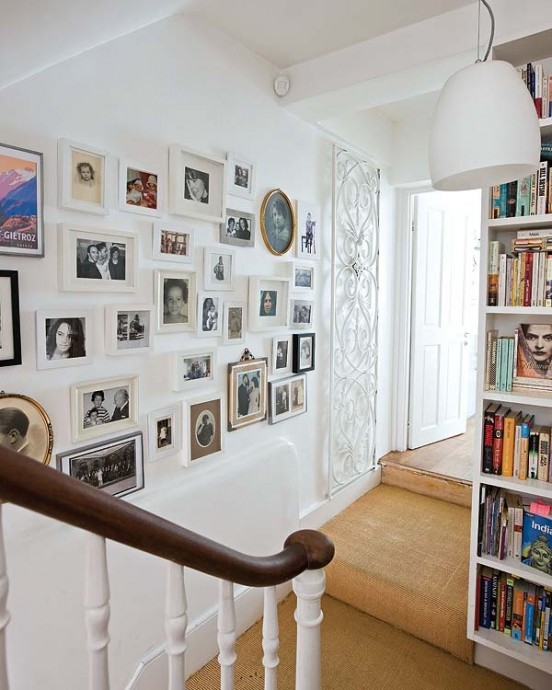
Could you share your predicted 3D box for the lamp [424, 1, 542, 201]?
[{"bbox_3d":[0.459,-0.498,1.119,0.221,0.255,0.259,1,7,30],"label":"lamp"}]
